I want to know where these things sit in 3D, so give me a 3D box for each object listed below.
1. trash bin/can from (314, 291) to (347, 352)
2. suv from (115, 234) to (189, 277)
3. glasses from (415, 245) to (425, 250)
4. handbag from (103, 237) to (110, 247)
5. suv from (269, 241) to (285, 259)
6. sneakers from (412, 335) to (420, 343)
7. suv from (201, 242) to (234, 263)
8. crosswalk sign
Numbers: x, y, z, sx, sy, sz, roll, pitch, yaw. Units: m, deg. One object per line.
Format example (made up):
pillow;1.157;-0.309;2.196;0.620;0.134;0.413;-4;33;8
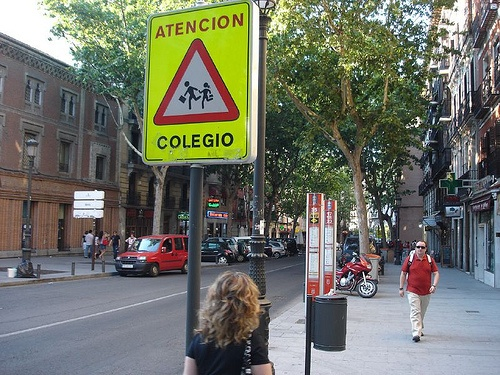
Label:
trash bin/can;1.131;1.901;7.218;0.492;0.851;0.446;0;6;-7
suv;-4.740;3.373;24.952;1.596;2.097;3.520;-8;-12;39
glasses;3.746;1.283;10.910;0.197;0.066;0.334;-5;-11;17
handbag;-10.156;3.761;35.045;0.385;0.431;0.517;3;-4;4
suv;2.704;5.936;48.724;1.191;1.707;2.810;-3;-10;13
sneakers;3.539;3.189;10.584;0.159;0.143;0.219;-4;-10;19
suv;-2.214;4.716;34.936;2.722;1.595;1.810;3;-5;15
crosswalk sign;-0.462;-1.008;4.925;1.397;2.296;0.220;0;-1;20
